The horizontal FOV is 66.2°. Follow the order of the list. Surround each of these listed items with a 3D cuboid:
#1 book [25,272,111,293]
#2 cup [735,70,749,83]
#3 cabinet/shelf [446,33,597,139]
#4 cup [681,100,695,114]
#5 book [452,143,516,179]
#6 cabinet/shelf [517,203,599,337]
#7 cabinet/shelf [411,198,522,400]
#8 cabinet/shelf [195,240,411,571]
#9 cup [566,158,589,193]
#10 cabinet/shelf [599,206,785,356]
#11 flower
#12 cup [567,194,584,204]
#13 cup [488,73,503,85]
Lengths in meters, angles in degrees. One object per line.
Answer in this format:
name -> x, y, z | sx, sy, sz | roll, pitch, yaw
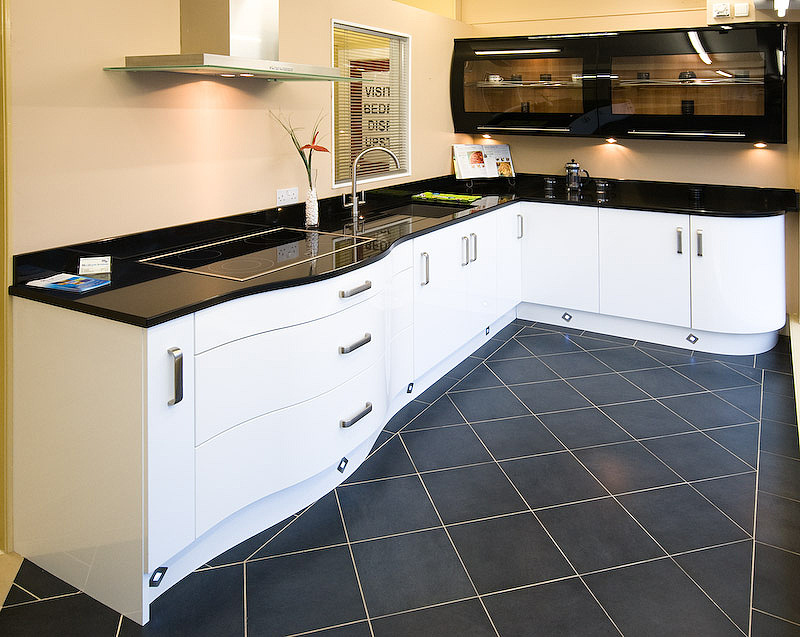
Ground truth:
book -> -1.246, -0.150, 2.342 | 0.312, 0.032, 0.259 | 1, 16, 11
cup -> 2.319, -1.671, 4.155 | 0.082, 0.076, 0.045 | 4, 11, 27
cabinet/shelf -> 0.904, -1.838, 5.190 | 1.224, 0.827, 0.661 | -5, 6, -15
cup -> 2.055, -1.543, 4.376 | 0.084, 0.077, 0.046 | 10, 22, 40
book -> 0.706, -1.376, 5.291 | 0.591, 0.288, 0.139 | -10, 18, -26
cabinet/shelf -> 1.248, -0.433, 5.056 | 0.716, 0.947, 0.522 | 1, -7, -5
cabinet/shelf -> 0.420, -0.143, 4.093 | 0.697, 0.791, 1.245 | 4, 17, 28
cabinet/shelf -> -0.430, 0.379, 2.568 | 0.606, 0.773, 1.194 | 4, 15, 19
cup -> 1.466, -1.216, 5.098 | 0.165, 0.250, 0.295 | 5, 18, 26
cabinet/shelf -> 2.217, -0.370, 4.662 | 1.294, 0.953, 0.764 | 7, 17, 37
flower -> -0.551, -0.982, 3.650 | 0.349, 0.350, 0.307 | 0, 11, 35
cup -> 1.357, -0.950, 4.765 | 0.104, 0.106, 0.193 | 2, 12, 22
cup -> 0.770, -1.963, 4.940 | 0.088, 0.051, 0.125 | 0, 6, 4
